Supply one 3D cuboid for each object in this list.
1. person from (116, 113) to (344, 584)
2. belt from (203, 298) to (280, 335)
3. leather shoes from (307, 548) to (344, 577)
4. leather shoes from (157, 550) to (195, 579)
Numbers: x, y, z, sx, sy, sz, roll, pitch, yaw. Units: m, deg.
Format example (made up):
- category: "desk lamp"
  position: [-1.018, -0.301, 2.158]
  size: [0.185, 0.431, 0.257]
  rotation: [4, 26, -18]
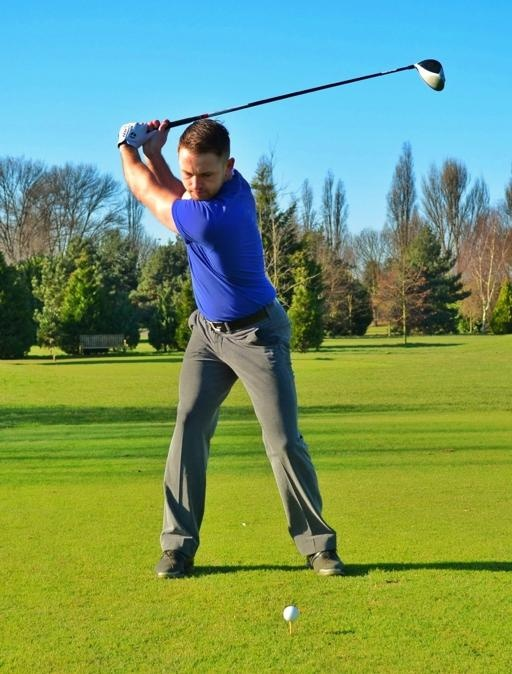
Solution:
- category: "person"
  position: [-0.134, -0.032, 3.483]
  size: [1.039, 1.297, 0.787]
  rotation: [2, 1, 7]
- category: "belt"
  position: [-0.067, -0.111, 3.529]
  size: [0.169, 0.040, 0.152]
  rotation: [-27, 6, -42]
- category: "leather shoes"
  position: [0.271, 0.878, 3.241]
  size: [0.118, 0.065, 0.202]
  rotation: [1, 0, -8]
- category: "leather shoes"
  position: [-0.313, 0.878, 3.225]
  size: [0.141, 0.057, 0.217]
  rotation: [2, 0, -4]
